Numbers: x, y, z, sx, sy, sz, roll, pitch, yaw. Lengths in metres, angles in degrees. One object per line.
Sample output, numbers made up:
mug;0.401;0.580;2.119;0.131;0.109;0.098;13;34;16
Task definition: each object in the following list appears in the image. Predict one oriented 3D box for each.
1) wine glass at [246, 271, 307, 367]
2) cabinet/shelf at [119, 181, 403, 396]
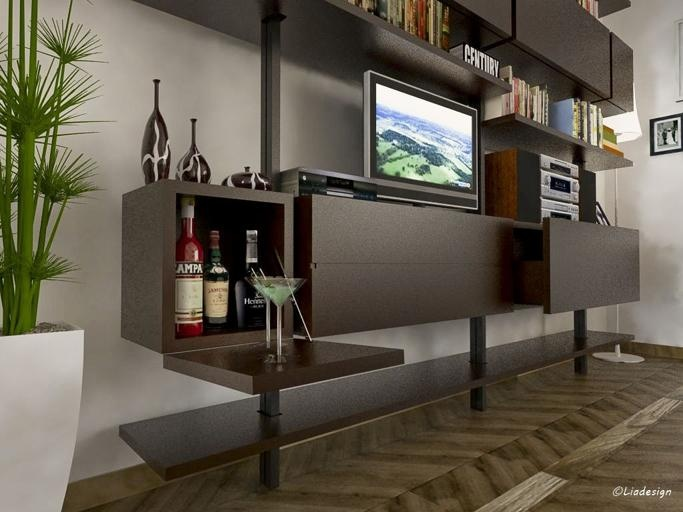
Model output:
wine glass;-0.219;0.179;1.833;0.178;0.269;0.352;-2;6;-10
cabinet/shelf;-0.324;0.116;2.023;0.943;0.707;0.690;1;1;37
